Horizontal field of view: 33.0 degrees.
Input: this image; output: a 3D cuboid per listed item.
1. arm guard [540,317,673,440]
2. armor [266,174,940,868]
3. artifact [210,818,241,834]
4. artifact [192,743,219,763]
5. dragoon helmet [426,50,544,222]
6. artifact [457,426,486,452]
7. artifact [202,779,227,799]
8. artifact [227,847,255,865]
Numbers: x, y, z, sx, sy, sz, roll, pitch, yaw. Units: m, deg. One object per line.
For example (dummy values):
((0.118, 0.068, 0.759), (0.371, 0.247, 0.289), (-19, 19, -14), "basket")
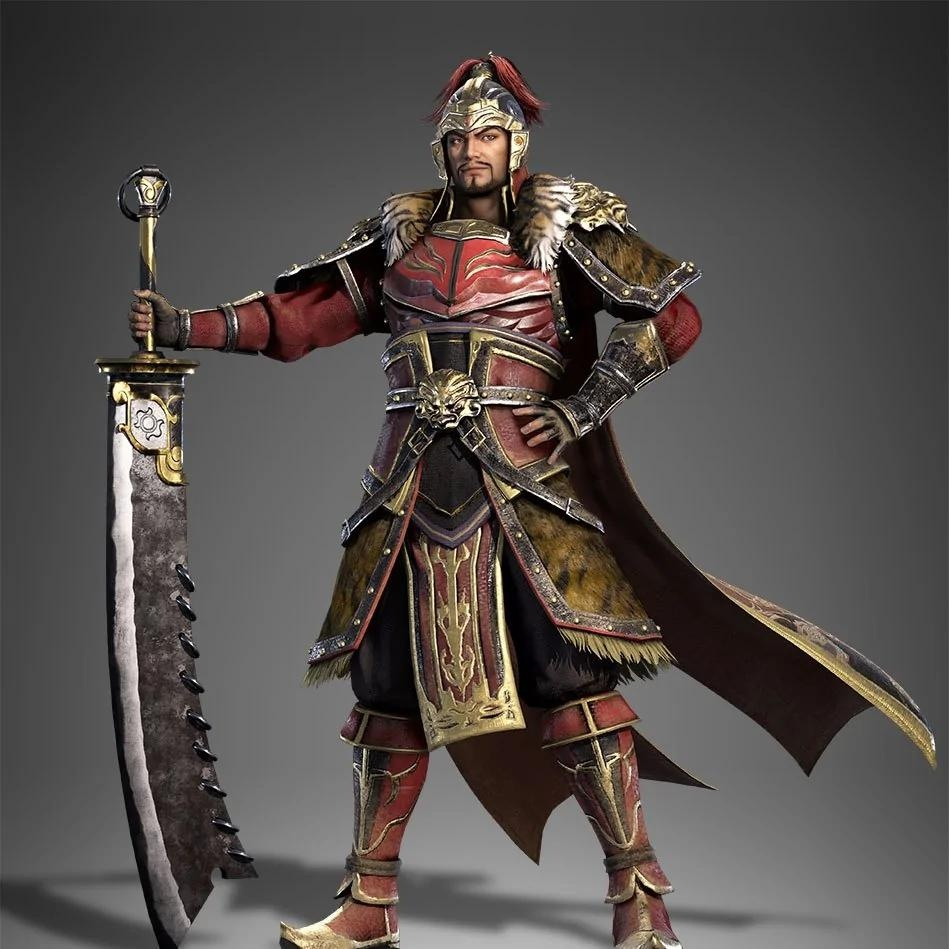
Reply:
((0.299, -0.211, 3.650), (0.132, 0.342, 0.191), (23, 26, -44), "arm guard")
((0.244, 0.265, 3.909), (1.101, 1.890, 1.026), (6, 20, -1), "armor")
((-0.568, 0.805, 3.700), (0.055, 0.011, 0.052), (26, -4, -34), "artifact")
((-0.619, 0.630, 3.676), (0.060, 0.016, 0.043), (31, 33, 11), "artifact")
((0.004, -0.800, 3.740), (0.342, 0.266, 0.223), (1, -1, 10), "dragoon helmet")
((-0.016, -0.084, 3.580), (0.058, 0.018, 0.066), (0, 27, -33), "artifact")
((-0.593, 0.713, 3.674), (0.066, 0.019, 0.046), (22, 2, 16), "artifact")
((-0.552, 0.872, 3.707), (0.061, 0.013, 0.059), (15, -7, 42), "artifact")
